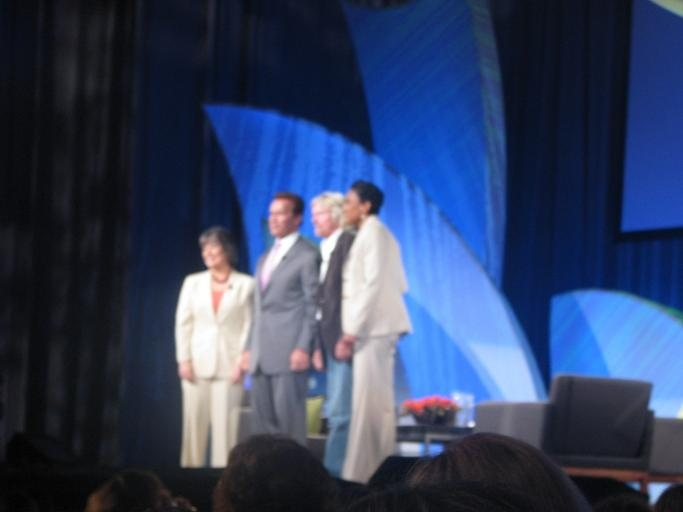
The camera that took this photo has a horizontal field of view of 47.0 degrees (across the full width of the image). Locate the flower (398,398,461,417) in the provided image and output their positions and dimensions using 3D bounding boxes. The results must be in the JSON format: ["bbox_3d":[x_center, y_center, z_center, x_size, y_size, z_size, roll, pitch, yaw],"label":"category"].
[{"bbox_3d":[0.529,0.882,4.644,0.234,0.100,0.151,-4,-4,11],"label":"flower"}]

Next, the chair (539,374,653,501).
[{"bbox_3d":[1.400,0.999,4.454,0.518,0.675,0.567,2,-5,9],"label":"chair"}]
